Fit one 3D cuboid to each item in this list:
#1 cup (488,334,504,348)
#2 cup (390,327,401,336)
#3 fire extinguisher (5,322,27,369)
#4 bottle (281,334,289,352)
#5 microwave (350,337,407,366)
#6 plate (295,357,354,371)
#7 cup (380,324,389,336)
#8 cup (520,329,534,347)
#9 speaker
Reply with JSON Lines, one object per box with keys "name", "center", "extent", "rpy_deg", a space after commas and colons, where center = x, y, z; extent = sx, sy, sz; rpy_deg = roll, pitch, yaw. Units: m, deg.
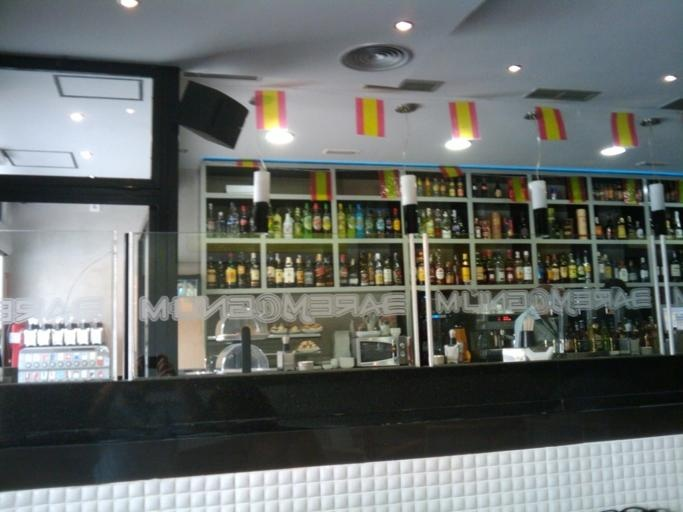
{"name": "cup", "center": [0.808, 0.440, 2.949], "extent": [0.087, 0.071, 0.076], "rpy_deg": [1, -1, 10]}
{"name": "cup", "center": [0.274, 0.381, 2.865], "extent": [0.046, 0.032, 0.048], "rpy_deg": [-2, -11, 0]}
{"name": "fire extinguisher", "center": [-1.507, 0.414, 2.641], "extent": [0.102, 0.213, 0.050], "rpy_deg": [-2, -6, -11]}
{"name": "bottle", "center": [-0.272, 0.429, 2.787], "extent": [0.040, 0.083, 0.027], "rpy_deg": [-3, -6, -7]}
{"name": "microwave", "center": [0.194, 0.482, 2.848], "extent": [0.265, 0.144, 0.156], "rpy_deg": [2, -9, -19]}
{"name": "plate", "center": [-0.074, 0.532, 2.802], "extent": [0.285, 0.060, 0.032], "rpy_deg": [-2, -6, -6]}
{"name": "cup", "center": [0.217, 0.375, 2.851], "extent": [0.059, 0.049, 0.054], "rpy_deg": [-1, -2, 0]}
{"name": "cup", "center": [0.986, 0.437, 2.994], "extent": [0.093, 0.076, 0.083], "rpy_deg": [-3, -3, 18]}
{"name": "speaker", "center": [-0.910, -1.006, 3.983], "extent": [0.149, 0.361, 0.593], "rpy_deg": [17, -5, 46]}
